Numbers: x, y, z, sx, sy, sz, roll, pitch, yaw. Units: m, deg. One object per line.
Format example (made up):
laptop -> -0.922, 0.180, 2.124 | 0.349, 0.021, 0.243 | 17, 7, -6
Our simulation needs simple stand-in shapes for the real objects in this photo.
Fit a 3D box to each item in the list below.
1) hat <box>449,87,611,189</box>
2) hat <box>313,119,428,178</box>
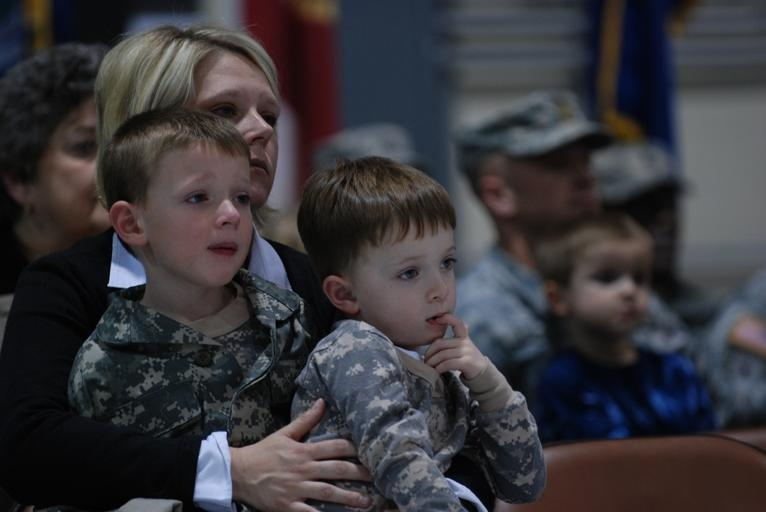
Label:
hat -> 0.485, -0.318, 3.461 | 0.376, 0.166, 0.296 | -14, -4, 20
hat -> -0.060, -0.390, 3.797 | 0.327, 0.116, 0.229 | -7, 3, 40
